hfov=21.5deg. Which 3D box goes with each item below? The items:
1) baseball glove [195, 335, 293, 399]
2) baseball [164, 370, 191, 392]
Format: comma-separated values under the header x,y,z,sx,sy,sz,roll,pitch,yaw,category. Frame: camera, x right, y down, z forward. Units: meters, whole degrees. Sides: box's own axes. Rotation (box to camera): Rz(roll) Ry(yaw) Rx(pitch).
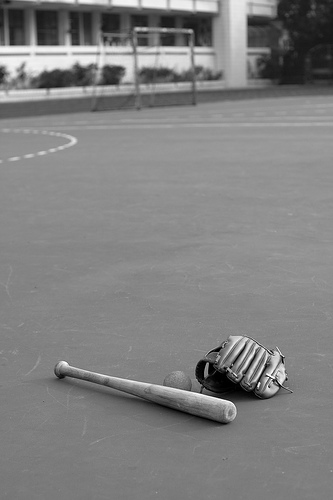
x,y,z,sx,sy,sz,roll,pitch,yaw,category
0.235,0.345,2.592,0.221,0.121,0.172,7,21,-20,baseball glove
0.030,0.381,2.554,0.053,0.076,0.058,-2,2,9,baseball
